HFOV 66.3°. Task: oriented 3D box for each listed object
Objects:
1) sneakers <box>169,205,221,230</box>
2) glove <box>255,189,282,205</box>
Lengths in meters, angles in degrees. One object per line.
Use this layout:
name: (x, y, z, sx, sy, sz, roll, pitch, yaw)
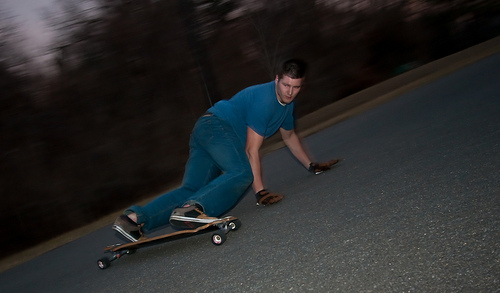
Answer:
sneakers: (-0.510, 0.799, 4.280, 0.716, 0.215, 0.273, -2, 68, -1)
glove: (0.205, 0.604, 4.534, 0.300, 0.119, 0.171, -3, 30, 42)
